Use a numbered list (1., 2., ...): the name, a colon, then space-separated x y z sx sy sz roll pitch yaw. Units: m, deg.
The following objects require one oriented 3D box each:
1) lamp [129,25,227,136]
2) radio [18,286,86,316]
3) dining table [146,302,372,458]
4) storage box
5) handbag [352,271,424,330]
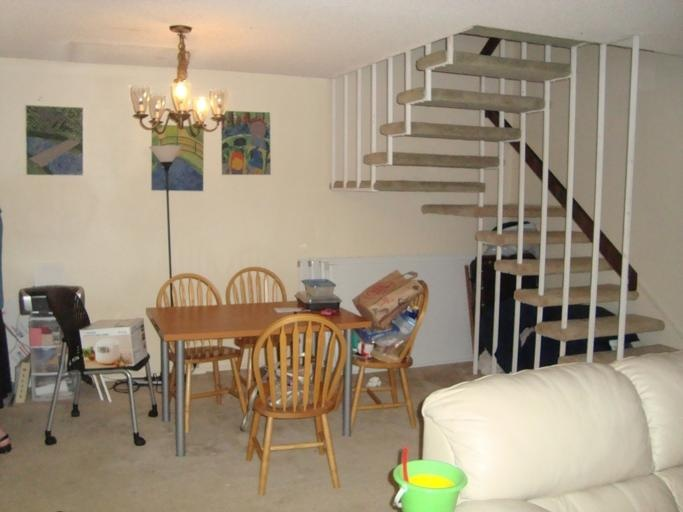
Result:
1. lamp: -1.212 -1.344 4.464 0.697 0.773 0.748 2 8 0
2. radio: -2.541 0.354 4.929 0.374 0.187 0.364 1 4 -12
3. dining table: -0.649 0.761 4.454 1.409 0.887 0.995 -3 9 -21
4. storage box: -1.668 0.624 4.426 0.493 0.275 0.492 1 11 41
5. handbag: 0.405 0.278 4.639 0.550 0.219 0.333 -35 27 -16
